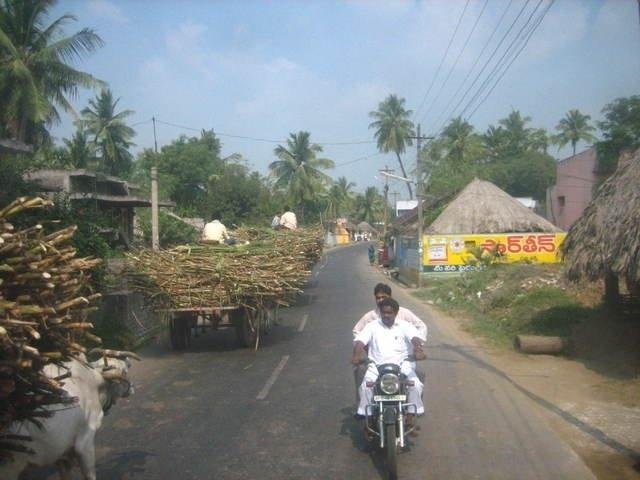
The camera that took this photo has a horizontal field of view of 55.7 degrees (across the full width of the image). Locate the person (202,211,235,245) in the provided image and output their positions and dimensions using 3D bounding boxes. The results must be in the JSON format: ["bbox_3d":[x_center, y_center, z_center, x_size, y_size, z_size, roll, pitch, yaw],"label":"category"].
[{"bbox_3d":[-2.574,-0.256,14.890,0.849,0.941,0.907,1,-16,-2],"label":"person"}]

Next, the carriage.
[{"bbox_3d":[-2.207,1.870,13.709,2.434,1.411,2.074,-3,7,-17],"label":"carriage"}]
